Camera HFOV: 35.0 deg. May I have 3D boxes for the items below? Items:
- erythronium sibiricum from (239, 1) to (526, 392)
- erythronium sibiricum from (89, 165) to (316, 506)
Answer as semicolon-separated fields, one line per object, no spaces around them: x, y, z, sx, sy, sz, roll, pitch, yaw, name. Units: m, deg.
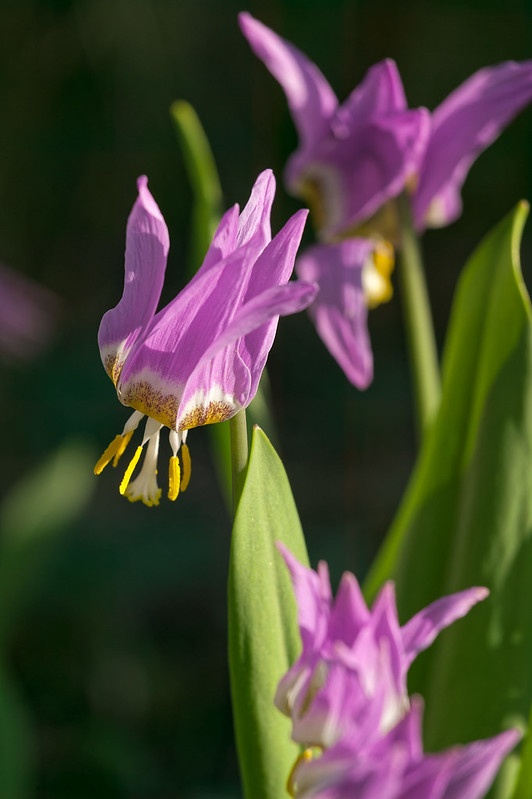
0.086;-0.143;0.605;0.217;0.196;0.097;-47;-18;-14;erythronium sibiricum
-0.043;-0.023;0.408;0.067;0.146;0.082;14;0;8;erythronium sibiricum
